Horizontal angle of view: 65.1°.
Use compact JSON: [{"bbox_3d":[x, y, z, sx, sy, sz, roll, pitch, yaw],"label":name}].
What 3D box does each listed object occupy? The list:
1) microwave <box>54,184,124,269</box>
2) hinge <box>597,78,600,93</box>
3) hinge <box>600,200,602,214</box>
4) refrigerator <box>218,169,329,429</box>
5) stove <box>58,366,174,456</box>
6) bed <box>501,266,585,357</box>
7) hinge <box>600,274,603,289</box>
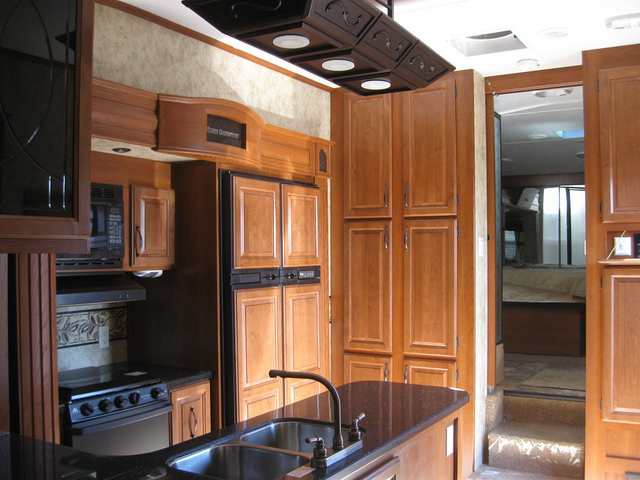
[{"bbox_3d":[-1.379,-0.086,3.166,0.573,0.513,0.312,2,-1,21],"label":"microwave"},{"bbox_3d":[2.145,-1.186,3.859,0.003,0.118,0.016,-2,-1,-6],"label":"hinge"},{"bbox_3d":[2.166,-0.244,3.860,0.002,0.100,0.024,-2,-1,-9],"label":"hinge"},{"bbox_3d":[-0.553,0.358,3.894,0.600,1.999,1.086,-2,-3,38],"label":"refrigerator"},{"bbox_3d":[-1.288,1.026,3.151,0.582,0.452,0.761,-6,9,-23],"label":"stove"},{"bbox_3d":[3.049,0.966,7.118,1.393,1.097,2.547,1,-2,20],"label":"bed"},{"bbox_3d":[2.156,0.323,3.834,0.016,0.114,0.028,-2,-1,-19],"label":"hinge"}]
